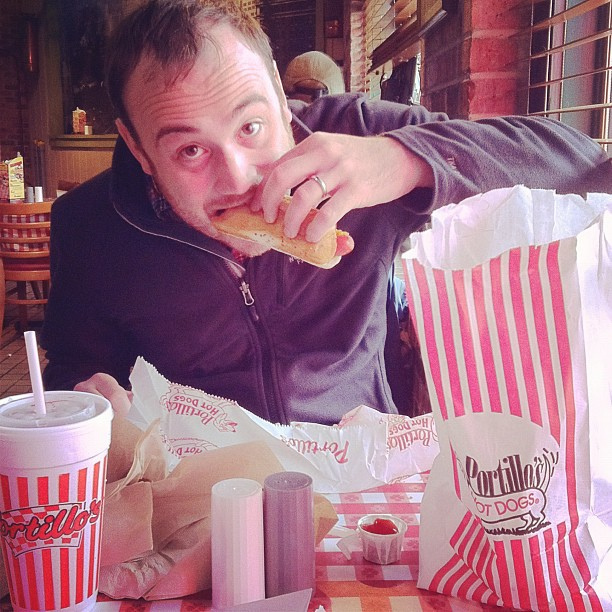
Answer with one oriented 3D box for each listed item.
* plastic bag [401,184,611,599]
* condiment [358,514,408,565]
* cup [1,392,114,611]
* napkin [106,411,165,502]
[{"bbox_3d":[0.168,0.120,0.641,0.172,0.485,0.205,2,12,3],"label":"plastic bag"},{"bbox_3d":[0.087,0.259,0.659,0.049,0.038,0.045,3,8,21],"label":"condiment"},{"bbox_3d":[-0.232,0.182,0.556,0.099,0.213,0.107,-2,5,0],"label":"cup"},{"bbox_3d":[-0.191,0.166,0.668,0.048,0.089,0.059,-5,8,-15],"label":"napkin"}]
